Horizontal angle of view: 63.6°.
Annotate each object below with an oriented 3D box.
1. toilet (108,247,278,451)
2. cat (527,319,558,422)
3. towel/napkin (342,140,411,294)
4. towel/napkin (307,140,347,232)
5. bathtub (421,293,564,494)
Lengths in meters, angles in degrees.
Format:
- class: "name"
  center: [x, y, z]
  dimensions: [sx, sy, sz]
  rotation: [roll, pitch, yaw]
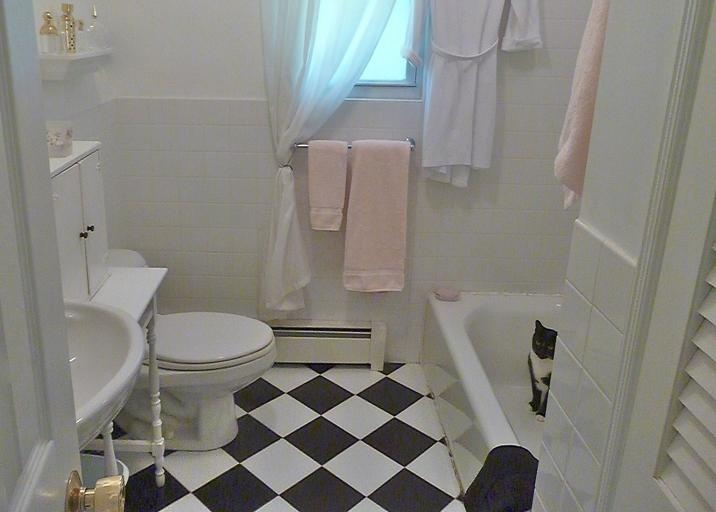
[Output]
- class: "toilet"
  center: [-0.730, 0.399, 2.460]
  dimensions: [0.698, 0.818, 0.473]
  rotation: [1, 18, -12]
- class: "cat"
  center: [0.842, 0.520, 2.693]
  dimensions: [0.102, 0.470, 0.247]
  rotation: [8, 28, 18]
- class: "towel/napkin"
  center: [0.086, -0.191, 2.820]
  dimensions: [0.312, 0.712, 0.219]
  rotation: [1, 26, 5]
- class: "towel/napkin"
  center: [-0.149, -0.339, 2.785]
  dimensions: [0.192, 0.453, 0.049]
  rotation: [0, -10, 8]
- class: "bathtub"
  center: [0.623, 0.784, 2.896]
  dimensions: [0.540, 0.314, 1.104]
  rotation: [1, 29, 1]
